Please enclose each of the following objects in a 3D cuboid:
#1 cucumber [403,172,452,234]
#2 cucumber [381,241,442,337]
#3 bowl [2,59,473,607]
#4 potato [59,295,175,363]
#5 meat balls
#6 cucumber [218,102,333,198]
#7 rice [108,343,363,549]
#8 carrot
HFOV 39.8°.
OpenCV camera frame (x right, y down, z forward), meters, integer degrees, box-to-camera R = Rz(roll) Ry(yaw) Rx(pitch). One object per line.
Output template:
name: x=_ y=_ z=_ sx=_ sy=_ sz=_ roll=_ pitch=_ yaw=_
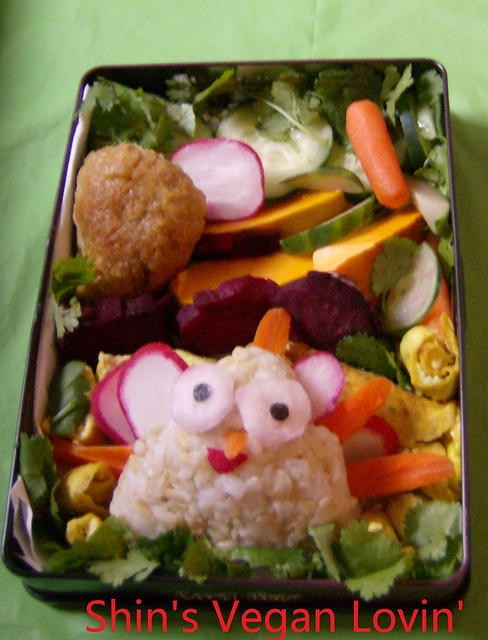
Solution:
cucumber: x=0.313 y=-0.204 z=1.179 sx=0.080 sy=0.086 sz=0.055 roll=-8 pitch=30 yaw=-9
cucumber: x=0.283 y=-0.053 z=1.140 sx=0.037 sy=0.144 sz=0.109 roll=15 pitch=35 yaw=-18
bowl: x=0.033 y=0.030 z=1.245 sx=0.712 sy=0.209 sz=0.883 roll=1 pitch=62 yaw=3
potato: x=-0.209 y=0.009 z=1.104 sx=0.136 sy=0.130 sz=0.035 roll=-1 pitch=49 yaw=-25
meat balls: x=-0.198 y=-0.163 z=1.169 sx=0.224 sy=0.123 sz=0.245 roll=-1 pitch=101 yaw=-7
cucumber: x=0.072 y=-0.331 z=1.311 sx=0.218 sy=0.050 sz=0.190 roll=6 pitch=73 yaw=12
rice: x=-0.023 y=0.169 z=0.904 sx=0.341 sy=0.203 sz=0.251 roll=-6 pitch=54 yaw=-2
carrot: x=0.235 y=-0.298 z=1.206 sx=0.077 sy=0.072 sz=0.227 roll=-20 pitch=83 yaw=5
